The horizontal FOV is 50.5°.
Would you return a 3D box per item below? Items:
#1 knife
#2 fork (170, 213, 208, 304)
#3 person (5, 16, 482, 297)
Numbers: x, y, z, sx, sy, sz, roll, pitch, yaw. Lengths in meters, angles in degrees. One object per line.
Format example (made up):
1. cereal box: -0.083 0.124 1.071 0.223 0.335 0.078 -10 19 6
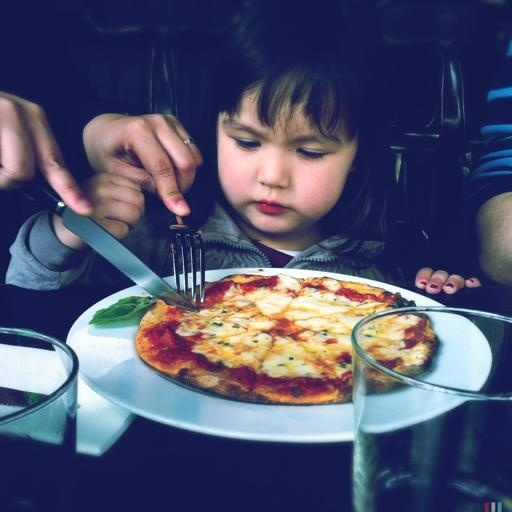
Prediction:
1. knife: -0.375 -0.027 1.352 0.079 0.586 0.048 -51 17 -4
2. fork: -0.168 0.004 1.355 0.050 0.045 0.314 1 46 -17
3. person: -0.001 -0.373 1.991 1.027 0.551 1.328 3 13 4
